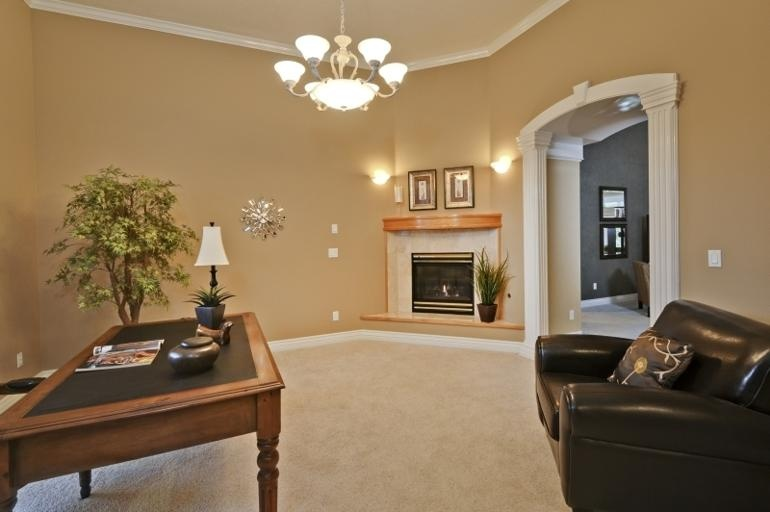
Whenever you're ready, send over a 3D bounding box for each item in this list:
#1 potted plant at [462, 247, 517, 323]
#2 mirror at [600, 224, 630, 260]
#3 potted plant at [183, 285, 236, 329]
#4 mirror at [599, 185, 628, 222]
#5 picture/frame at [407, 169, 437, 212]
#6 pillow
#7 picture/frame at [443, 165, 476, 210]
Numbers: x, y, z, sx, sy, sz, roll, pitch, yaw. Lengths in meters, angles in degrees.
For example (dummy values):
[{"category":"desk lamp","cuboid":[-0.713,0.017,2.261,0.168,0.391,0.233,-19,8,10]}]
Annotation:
[{"category":"potted plant","cuboid":[1.348,0.375,6.528,0.530,0.932,0.357,1,4,24]},{"category":"mirror","cuboid":[4.087,-0.268,9.073,0.608,0.713,0.067,-1,2,-24]},{"category":"potted plant","cuboid":[-1.501,0.477,4.374,0.332,0.396,0.328,-2,2,45]},{"category":"mirror","cuboid":[4.027,-0.932,8.995,0.636,0.694,0.052,-1,1,-25]},{"category":"picture/frame","cuboid":[0.526,-0.883,6.826,0.544,0.750,0.058,1,1,20]},{"category":"pillow","cuboid":[2.092,0.802,3.999,0.416,0.127,0.443,22,-10,-13]},{"category":"picture/frame","cuboid":[1.004,-0.904,6.665,0.557,0.805,0.058,0,1,18]}]
